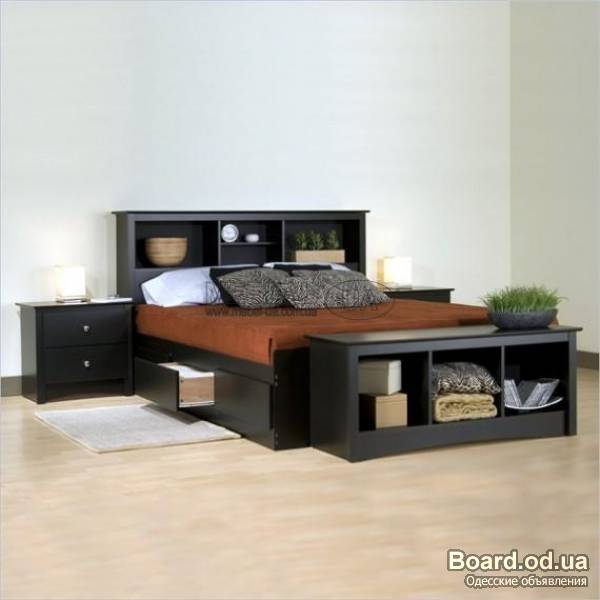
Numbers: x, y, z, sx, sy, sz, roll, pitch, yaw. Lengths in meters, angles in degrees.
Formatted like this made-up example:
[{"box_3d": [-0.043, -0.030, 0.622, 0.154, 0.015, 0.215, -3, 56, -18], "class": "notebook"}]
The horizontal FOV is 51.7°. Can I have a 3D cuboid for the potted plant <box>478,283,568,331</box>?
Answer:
[{"box_3d": [1.185, 0.033, 3.167, 0.331, 0.156, 0.206, -8, 3, 11], "class": "potted plant"}]

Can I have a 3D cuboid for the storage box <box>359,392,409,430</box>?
[{"box_3d": [0.369, 0.489, 2.778, 0.189, 0.122, 0.181, -1, 1, -23], "class": "storage box"}]

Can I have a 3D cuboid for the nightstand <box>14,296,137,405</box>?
[{"box_3d": [-1.405, 0.375, 4.398, 0.803, 0.627, 0.459, -4, -9, 13], "class": "nightstand"}]

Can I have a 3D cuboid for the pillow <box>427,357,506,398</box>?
[{"box_3d": [0.796, 0.378, 2.958, 0.265, 0.075, 0.272, -1, 2, -4], "class": "pillow"}]

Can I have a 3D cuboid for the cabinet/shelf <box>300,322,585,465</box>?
[{"box_3d": [0.704, 0.441, 3.064, 1.405, 0.537, 0.399, -1, -3, -27], "class": "cabinet/shelf"}]

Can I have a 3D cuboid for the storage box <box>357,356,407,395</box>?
[{"box_3d": [0.370, 0.346, 2.831, 0.179, 0.094, 0.172, 0, 1, 37], "class": "storage box"}]

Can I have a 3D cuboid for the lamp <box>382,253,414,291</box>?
[{"box_3d": [0.749, -0.219, 5.249, 0.276, 0.252, 0.280, -4, 6, -41], "class": "lamp"}]

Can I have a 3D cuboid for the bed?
[{"box_3d": [-0.156, 0.081, 3.980, 1.939, 1.059, 1.817, -3, 5, -28], "class": "bed"}]

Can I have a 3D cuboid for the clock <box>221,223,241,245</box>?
[{"box_3d": [-0.527, -0.525, 4.817, 0.161, 0.138, 0.036, 0, 6, -33], "class": "clock"}]

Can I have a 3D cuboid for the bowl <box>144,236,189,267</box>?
[{"box_3d": [-0.986, -0.357, 4.564, 0.263, 0.157, 0.245, -1, 0, 0], "class": "bowl"}]

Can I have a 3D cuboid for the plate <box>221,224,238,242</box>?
[{"box_3d": [-0.542, -0.518, 4.835, 0.148, 0.128, 0.032, 0, 6, -33], "class": "plate"}]
